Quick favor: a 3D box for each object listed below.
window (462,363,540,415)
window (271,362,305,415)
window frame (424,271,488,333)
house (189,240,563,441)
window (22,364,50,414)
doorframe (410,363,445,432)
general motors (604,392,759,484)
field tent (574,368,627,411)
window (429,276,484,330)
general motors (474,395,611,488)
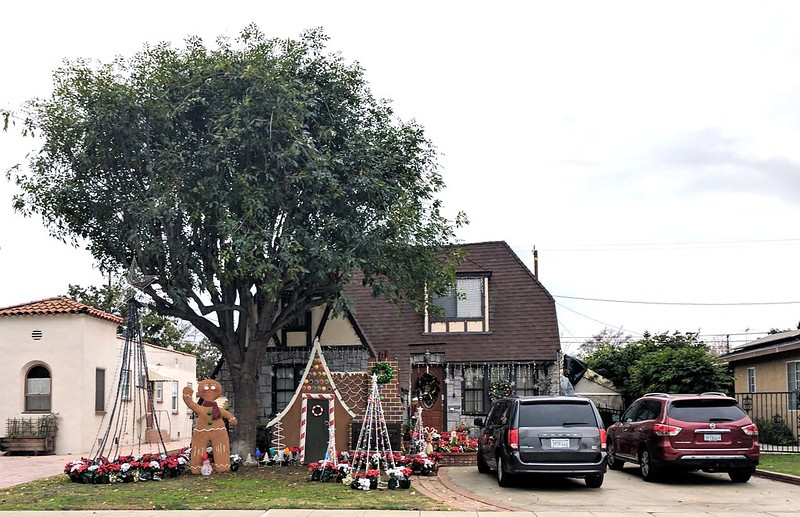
[{"bbox_3d":[4.203,5.599,34.813,3.492,2.128,0.187,1,-6,-11],"label":"window"},{"bbox_3d":[-4.693,5.371,33.674,1.220,1.998,0.597,-2,-15,-3],"label":"window"},{"bbox_3d":[2.492,2.016,36.142,2.967,2.575,0.348,-3,-2,22],"label":"window frame"},{"bbox_3d":[-0.704,3.454,38.044,13.890,8.105,7.382,-1,-7,-2],"label":"house"},{"bbox_3d":[-15.043,5.461,34.118,1.107,1.980,0.258,-2,-15,-2],"label":"window"},{"bbox_3d":[1.234,5.852,34.423,1.414,2.822,1.354,-3,-15,2],"label":"doorframe"},{"bbox_3d":[8.312,5.341,24.920,2.340,2.690,4.192,7,-18,-30],"label":"general motors"},{"bbox_3d":[9.482,6.402,39.448,2.096,1.263,2.086,0,-5,-1],"label":"field tent"},{"bbox_3d":[2.425,1.918,34.680,2.370,2.042,0.311,0,-11,3],"label":"window"},{"bbox_3d":[3.862,5.285,23.959,2.372,2.634,3.773,9,-20,-37],"label":"general motors"}]
